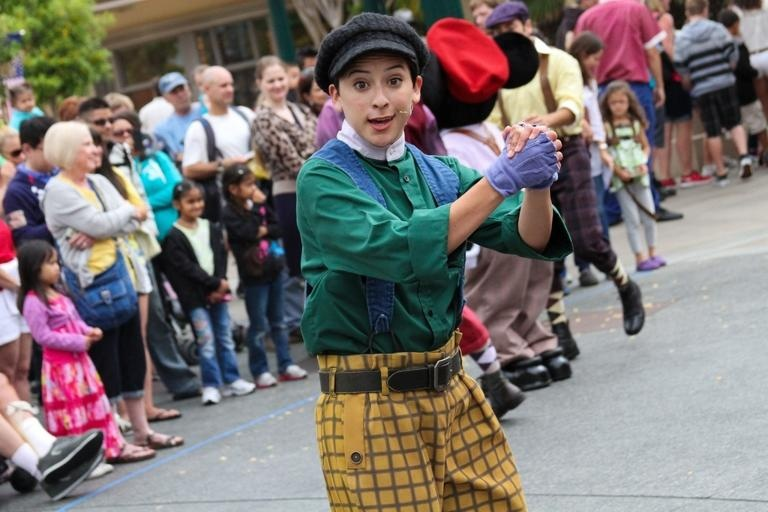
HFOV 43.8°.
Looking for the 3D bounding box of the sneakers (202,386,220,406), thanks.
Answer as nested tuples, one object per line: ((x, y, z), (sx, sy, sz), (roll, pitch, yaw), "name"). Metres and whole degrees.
((-1.511, 1.196, 8.328), (0.165, 0.132, 0.220), (-12, 5, -10), "sneakers")

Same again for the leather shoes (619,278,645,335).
((2.001, 0.428, 7.630), (0.156, 0.503, 0.204), (-13, -23, 37), "leather shoes")

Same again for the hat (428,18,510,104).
((0.587, -1.433, 6.893), (0.487, 0.617, 0.216), (-37, -13, -20), "hat")

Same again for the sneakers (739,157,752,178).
((4.605, -1.125, 12.140), (0.098, 0.301, 0.128), (0, 32, 3), "sneakers")

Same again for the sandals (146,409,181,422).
((-1.864, 1.321, 8.041), (0.259, 0.069, 0.115), (-3, 1, -3), "sandals")

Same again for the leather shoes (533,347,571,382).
((1.343, 0.829, 7.535), (0.242, 0.252, 0.240), (-30, 1, -23), "leather shoes")

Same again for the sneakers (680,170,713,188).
((4.107, -1.026, 12.624), (0.437, 0.207, 0.170), (-3, 2, 4), "sneakers")

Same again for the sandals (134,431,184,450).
((-1.747, 1.409, 7.468), (0.364, 0.173, 0.150), (-3, 9, 1), "sandals")

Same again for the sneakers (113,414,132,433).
((-2.149, 1.368, 7.877), (0.091, 0.122, 0.272), (-3, -17, -1), "sneakers")

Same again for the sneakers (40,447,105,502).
((-2.213, 1.521, 6.728), (0.391, 0.136, 0.153), (-42, 44, -11), "sneakers")

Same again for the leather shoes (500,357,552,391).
((1.101, 0.893, 7.310), (0.179, 0.209, 0.448), (-10, 13, -43), "leather shoes")

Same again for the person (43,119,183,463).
((-2.133, 0.261, 7.536), (0.782, 2.636, 0.773), (-11, 11, -26), "person")

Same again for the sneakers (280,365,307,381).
((-0.808, 1.051, 8.638), (0.266, 0.130, 0.112), (-3, 3, 6), "sneakers")

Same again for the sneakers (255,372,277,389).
((-1.053, 1.090, 8.519), (0.199, 0.120, 0.142), (-13, 5, -13), "sneakers")

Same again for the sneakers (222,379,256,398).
((-1.278, 1.158, 8.447), (0.235, 0.107, 0.132), (-7, 3, 30), "sneakers")

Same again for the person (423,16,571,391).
((0.884, -0.277, 7.270), (0.982, 2.688, 0.812), (-10, 13, 22), "person")

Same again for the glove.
((0.661, -0.427, 4.510), (0.315, 0.299, 0.145), (-7, -21, -5), "glove")

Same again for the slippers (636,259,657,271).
((2.593, 0.087, 9.408), (0.088, 0.077, 0.169), (-4, -4, -28), "slippers")

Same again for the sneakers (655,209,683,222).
((3.338, -0.474, 11.098), (0.376, 0.177, 0.134), (0, 14, 20), "sneakers")
